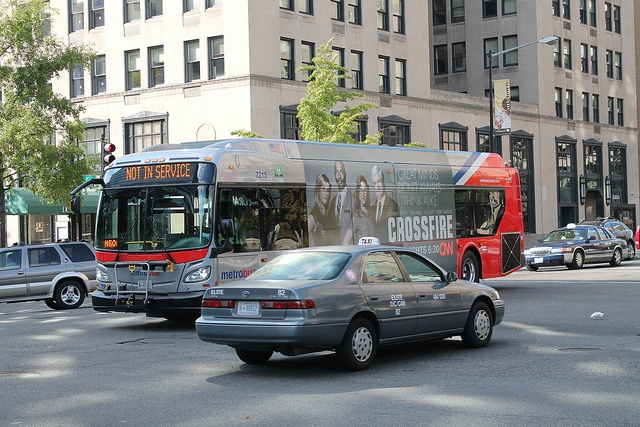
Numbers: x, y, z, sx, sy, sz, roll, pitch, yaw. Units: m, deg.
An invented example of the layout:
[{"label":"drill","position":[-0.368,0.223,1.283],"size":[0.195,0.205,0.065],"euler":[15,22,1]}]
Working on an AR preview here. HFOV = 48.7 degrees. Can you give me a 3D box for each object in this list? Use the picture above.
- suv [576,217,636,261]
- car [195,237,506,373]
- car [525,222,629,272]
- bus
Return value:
[{"label":"suv","position":[16.285,1.239,39.275],"size":[3.835,1.878,2.212],"euler":[5,-8,-32]},{"label":"car","position":[0.748,1.633,13.162],"size":[4.758,1.573,2.215],"euler":[-3,0,-41]},{"label":"car","position":[12.144,1.598,33.853],"size":[4.932,2.068,1.669],"euler":[0,-3,-27]},{"label":"bus","position":[0.811,0.301,22.260],"size":[16.346,4.419,4.119],"euler":[-1,-3,-45]}]
